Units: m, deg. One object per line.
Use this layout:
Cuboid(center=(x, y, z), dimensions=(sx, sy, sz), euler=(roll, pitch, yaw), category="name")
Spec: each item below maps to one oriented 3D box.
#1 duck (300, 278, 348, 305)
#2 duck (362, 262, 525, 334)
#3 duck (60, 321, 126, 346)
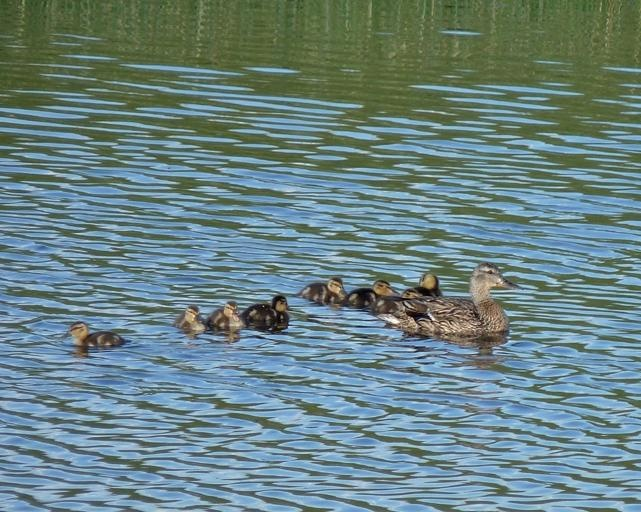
Cuboid(center=(0.061, 0.523, 16.434), dimensions=(0.520, 0.422, 0.561), euler=(-24, 42, -34), category="duck")
Cuboid(center=(2.115, 0.761, 16.056), dimensions=(1.993, 0.791, 1.274), euler=(-14, 35, -27), category="duck")
Cuboid(center=(-3.008, 1.050, 14.228), dimensions=(0.814, 0.361, 0.350), euler=(1, 35, -3), category="duck")
